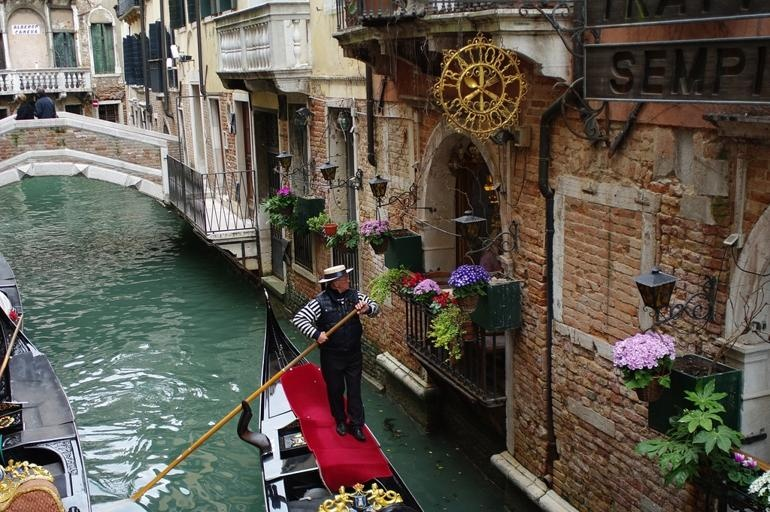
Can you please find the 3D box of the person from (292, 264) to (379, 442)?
[{"bbox_3d":[-0.606,1.052,7.826,0.747,2.167,0.899,0,2,-14],"label":"person"}]

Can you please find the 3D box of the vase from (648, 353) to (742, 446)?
[{"bbox_3d":[2.703,1.248,5.760,0.673,0.643,0.472,-6,16,-18],"label":"vase"}]

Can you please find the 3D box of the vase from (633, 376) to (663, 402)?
[{"bbox_3d":[2.232,1.143,5.645,0.214,0.162,0.216,-3,7,-10],"label":"vase"}]

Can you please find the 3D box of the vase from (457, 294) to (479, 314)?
[{"bbox_3d":[0.932,0.551,7.466,0.199,0.161,0.205,-3,7,-16],"label":"vase"}]

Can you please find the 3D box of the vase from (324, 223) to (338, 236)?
[{"bbox_3d":[-0.899,-0.425,11.181,0.208,0.159,0.213,4,14,27],"label":"vase"}]

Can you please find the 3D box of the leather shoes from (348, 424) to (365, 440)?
[{"bbox_3d":[-0.342,2.083,7.835,0.100,0.109,0.265,-2,12,-31],"label":"leather shoes"}]

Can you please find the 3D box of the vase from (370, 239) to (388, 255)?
[{"bbox_3d":[-0.091,-0.103,9.493,0.219,0.176,0.216,-7,6,-31],"label":"vase"}]

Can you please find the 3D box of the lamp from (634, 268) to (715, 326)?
[{"bbox_3d":[2.531,0.378,5.743,0.860,0.566,0.381,6,-5,-34],"label":"lamp"}]

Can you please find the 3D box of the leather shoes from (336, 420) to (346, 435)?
[{"bbox_3d":[-0.517,2.058,7.868,0.081,0.069,0.159,-12,34,-17],"label":"leather shoes"}]

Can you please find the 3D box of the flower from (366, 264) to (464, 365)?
[{"bbox_3d":[0.275,0.564,8.537,0.607,0.787,1.927,-12,36,-22],"label":"flower"}]

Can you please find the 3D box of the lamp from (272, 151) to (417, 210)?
[{"bbox_3d":[-0.650,-1.255,11.364,3.156,0.778,0.539,19,23,37],"label":"lamp"}]

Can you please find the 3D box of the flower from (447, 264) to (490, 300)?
[{"bbox_3d":[0.917,0.300,7.307,0.367,0.331,0.396,-16,12,14],"label":"flower"}]

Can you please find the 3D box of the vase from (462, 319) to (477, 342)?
[{"bbox_3d":[0.999,0.902,7.883,0.208,0.226,0.207,-5,9,-26],"label":"vase"}]

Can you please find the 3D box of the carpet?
[{"bbox_3d":[-0.594,2.002,7.745,1.018,1.302,1.114,-2,-7,5],"label":"carpet"}]

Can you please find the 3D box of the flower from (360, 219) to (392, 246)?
[{"bbox_3d":[-0.148,-0.328,9.427,0.355,0.258,0.355,-5,11,-25],"label":"flower"}]
